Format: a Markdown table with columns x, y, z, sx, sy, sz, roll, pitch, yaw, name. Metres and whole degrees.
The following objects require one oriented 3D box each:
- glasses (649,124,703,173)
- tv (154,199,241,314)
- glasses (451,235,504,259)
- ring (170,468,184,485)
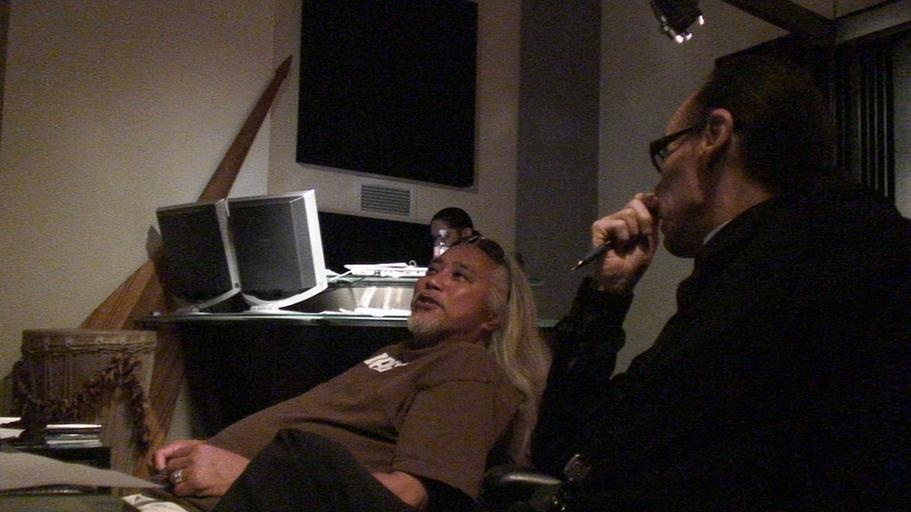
| x | y | z | sx | sy | sz | roll | pitch | yaw | name |
| --- | --- | --- | --- | --- | --- | --- | --- | --- | --- |
| 0.509 | -0.263 | 1.625 | 0.120 | 0.030 | 0.111 | -24 | -7 | 12 | glasses |
| -1.244 | 0.005 | 3.387 | 0.625 | 0.534 | 0.145 | -5 | -3 | 41 | tv |
| 0.084 | -0.030 | 2.287 | 0.136 | 0.039 | 0.090 | 8 | 0 | -1 | glasses |
| -0.766 | 0.607 | 1.893 | 0.040 | 0.034 | 0.044 | 0 | 4 | -6 | ring |
